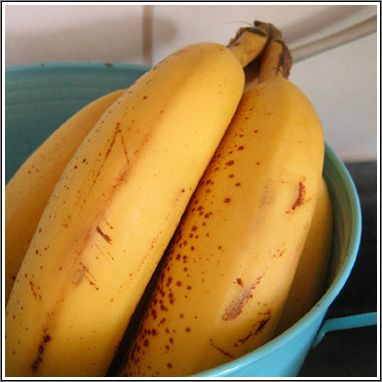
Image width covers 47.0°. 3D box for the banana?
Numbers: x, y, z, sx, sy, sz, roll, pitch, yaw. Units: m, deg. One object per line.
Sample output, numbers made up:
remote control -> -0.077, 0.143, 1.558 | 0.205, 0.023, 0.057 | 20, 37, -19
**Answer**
banana -> -0.010, -0.007, 0.425 | 0.211, 0.370, 0.095 | 38, -6, -17
